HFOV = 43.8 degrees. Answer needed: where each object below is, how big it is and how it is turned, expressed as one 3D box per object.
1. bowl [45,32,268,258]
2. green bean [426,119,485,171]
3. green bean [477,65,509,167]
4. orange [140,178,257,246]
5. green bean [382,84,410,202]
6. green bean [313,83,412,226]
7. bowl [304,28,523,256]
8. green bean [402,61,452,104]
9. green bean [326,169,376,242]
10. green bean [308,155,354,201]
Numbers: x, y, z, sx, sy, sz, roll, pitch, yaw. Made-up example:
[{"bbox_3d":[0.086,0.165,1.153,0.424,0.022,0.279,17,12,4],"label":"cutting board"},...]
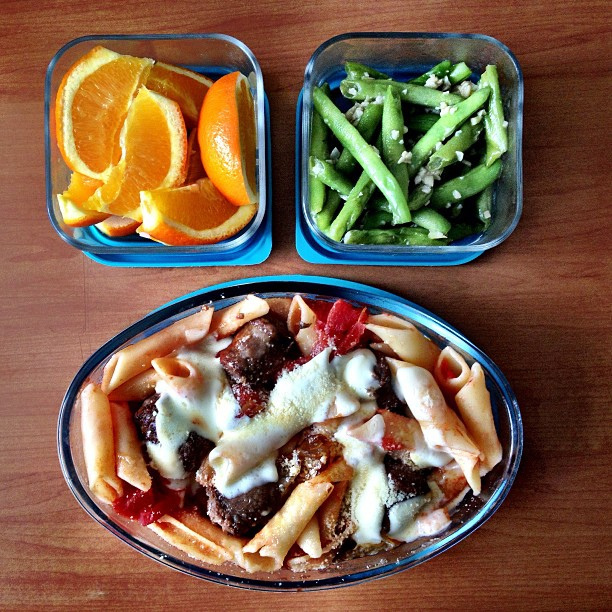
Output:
[{"bbox_3d":[-0.303,-0.306,1.374,0.440,0.146,0.430,0,94,-2],"label":"bowl"},{"bbox_3d":[0.283,-0.315,1.477,0.118,0.030,0.033,-43,66,-15],"label":"green bean"},{"bbox_3d":[0.362,-0.363,1.481,0.056,0.047,0.190,0,96,24],"label":"green bean"},{"bbox_3d":[-0.208,-0.173,1.425,0.185,0.060,0.123,-8,86,-28],"label":"orange"},{"bbox_3d":[0.167,-0.316,1.461,0.046,0.034,0.232,0,98,18],"label":"green bean"},{"bbox_3d":[0.102,-0.295,1.461,0.041,0.048,0.326,-34,80,0],"label":"green bean"},{"bbox_3d":[0.207,-0.314,1.504,0.417,0.161,0.430,-1,81,5],"label":"bowl"},{"bbox_3d":[0.239,-0.440,1.507,0.129,0.028,0.033,-36,50,9],"label":"green bean"},{"bbox_3d":[0.089,-0.195,1.458,0.049,0.037,0.176,25,110,-7],"label":"green bean"},{"bbox_3d":[0.043,-0.247,1.456,0.137,0.037,0.038,36,116,-11],"label":"green bean"}]
